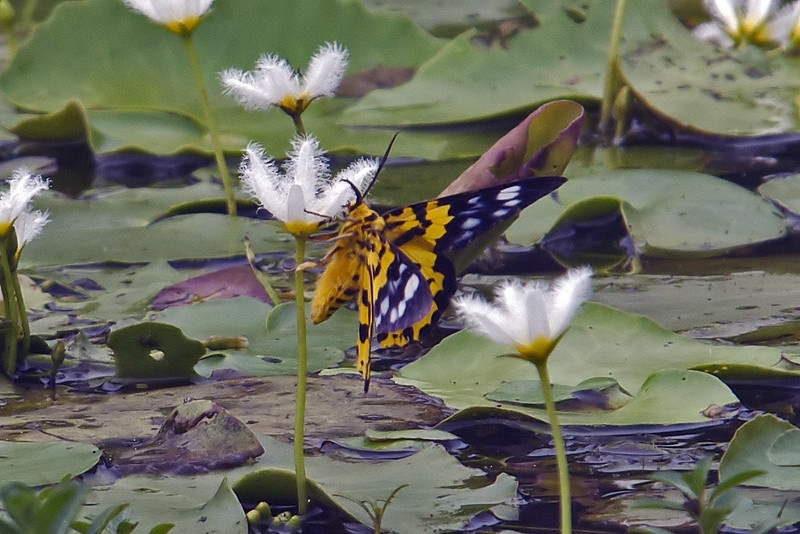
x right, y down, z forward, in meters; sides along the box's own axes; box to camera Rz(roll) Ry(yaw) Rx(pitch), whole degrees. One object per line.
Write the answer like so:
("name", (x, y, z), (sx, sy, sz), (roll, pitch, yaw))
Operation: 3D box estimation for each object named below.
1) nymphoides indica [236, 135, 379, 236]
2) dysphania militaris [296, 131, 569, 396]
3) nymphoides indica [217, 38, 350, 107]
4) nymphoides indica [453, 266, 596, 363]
("nymphoides indica", (-0.296, -0.264, 3.622), (0.388, 0.287, 0.369), (3, 14, 12))
("dysphania militaris", (0.047, -0.032, 3.847), (0.707, 0.783, 0.946), (26, 9, 13))
("nymphoides indica", (-0.457, -0.688, 4.326), (0.435, 0.146, 0.366), (-1, 7, 19))
("nymphoides indica", (0.370, 0.136, 3.359), (0.405, 0.252, 0.200), (1, 15, 0))
